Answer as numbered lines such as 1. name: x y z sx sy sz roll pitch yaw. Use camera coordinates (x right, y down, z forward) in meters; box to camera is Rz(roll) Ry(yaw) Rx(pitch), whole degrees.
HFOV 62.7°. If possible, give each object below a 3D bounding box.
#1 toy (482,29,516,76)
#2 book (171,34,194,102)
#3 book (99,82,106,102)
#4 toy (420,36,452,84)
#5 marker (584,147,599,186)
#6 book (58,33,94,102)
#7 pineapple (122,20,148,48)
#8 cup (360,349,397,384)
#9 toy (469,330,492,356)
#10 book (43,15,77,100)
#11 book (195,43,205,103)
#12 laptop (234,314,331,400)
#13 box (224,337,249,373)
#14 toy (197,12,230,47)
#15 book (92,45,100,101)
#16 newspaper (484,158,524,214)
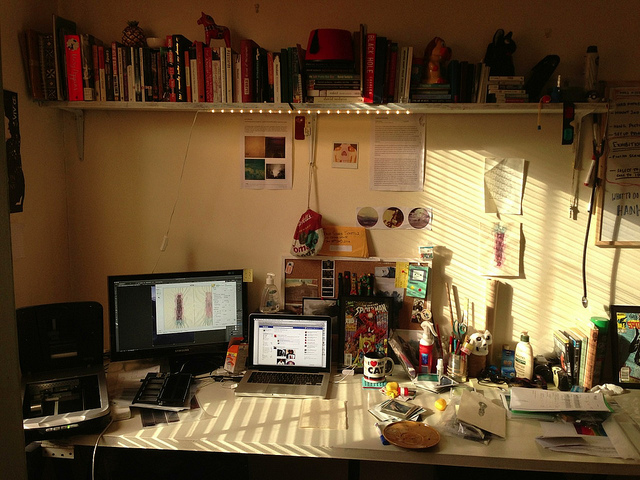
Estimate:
1. toy: 0.909 -0.920 2.685 0.168 0.296 0.102 10 5 5
2. book: -0.712 -0.881 2.670 0.057 0.258 0.243 2 9 -9
3. book: -1.116 -0.770 2.709 0.033 0.097 0.101 -1 2 -17
4. toy: 0.593 -0.930 2.743 0.176 0.269 0.177 -8 16 -32
5. marker: 1.423 -0.369 2.770 0.045 0.160 0.026 -3 8 -13
6. book: -1.276 -0.914 2.829 0.118 0.334 0.359 -6 15 -8
7. pineapple: -0.970 -1.079 2.764 0.125 0.163 0.184 -4 8 -20
8. cup: 0.304 0.655 2.703 0.176 0.137 0.115 3 3 8
9. toy: 0.843 0.545 2.826 0.133 0.134 0.104 0 -2 -19
10. book: -1.341 -0.934 2.706 0.086 0.378 0.367 1 6 -7
11. book: -0.604 -0.855 2.673 0.049 0.221 0.208 1 10 -9
12. laptop: -0.170 0.557 2.599 0.445 0.309 0.395 1 6 -1
13. box: -0.435 0.599 2.749 0.080 0.161 0.096 7 -3 32
14. toy: -0.541 -1.086 2.759 0.155 0.169 0.154 -1 8 3
15. book: -1.164 -0.892 2.751 0.028 0.159 0.160 -4 -21 -20
16. newspaper: 0.978 -0.298 2.815 0.197 0.294 0.047 3 11 -6
